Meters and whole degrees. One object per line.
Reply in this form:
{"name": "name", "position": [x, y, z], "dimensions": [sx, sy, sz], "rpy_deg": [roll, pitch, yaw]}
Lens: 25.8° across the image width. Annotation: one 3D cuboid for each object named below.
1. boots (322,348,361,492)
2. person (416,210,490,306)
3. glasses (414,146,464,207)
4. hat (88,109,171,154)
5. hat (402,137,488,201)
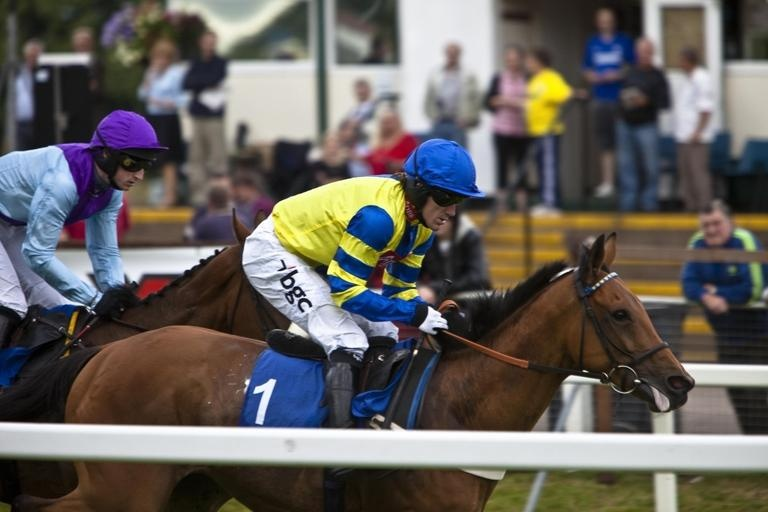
{"name": "boots", "position": [-0.259, 0.796, 10.338], "dimensions": [0.212, 0.455, 0.260], "rpy_deg": [0, 8, 3]}
{"name": "person", "position": [0.547, -0.001, 12.996], "dimensions": [0.590, 0.686, 0.277], "rpy_deg": [15, 1, 3]}
{"name": "glasses", "position": [0.350, -0.456, 10.367], "dimensions": [0.310, 0.147, 0.227], "rpy_deg": [-3, 21, 8]}
{"name": "hat", "position": [-1.691, -0.817, 10.844], "dimensions": [0.393, 0.174, 0.269], "rpy_deg": [3, -3, 12]}
{"name": "hat", "position": [0.383, -0.549, 10.429], "dimensions": [0.465, 0.229, 0.331], "rpy_deg": [9, 8, 10]}
